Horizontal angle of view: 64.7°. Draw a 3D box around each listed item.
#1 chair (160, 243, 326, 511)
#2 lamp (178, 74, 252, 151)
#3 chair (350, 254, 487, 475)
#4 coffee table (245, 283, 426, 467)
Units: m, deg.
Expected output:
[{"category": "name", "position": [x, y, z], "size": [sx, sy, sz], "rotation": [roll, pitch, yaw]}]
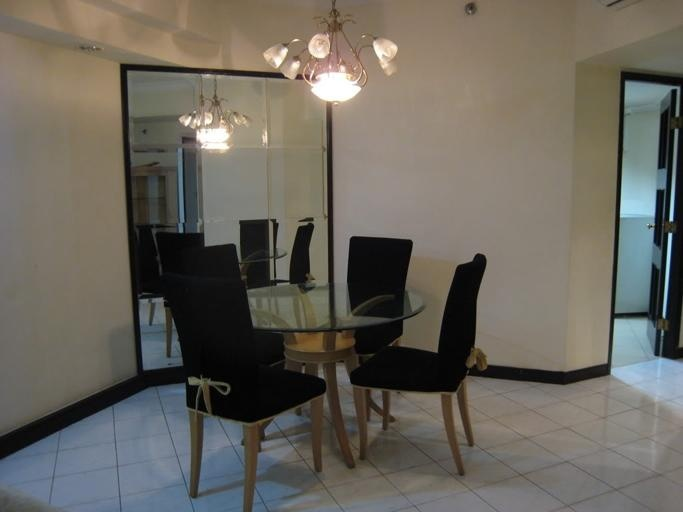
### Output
[{"category": "chair", "position": [-0.517, 0.733, 3.050], "size": [0.801, 1.330, 0.466], "rotation": [-6, 12, -19]}, {"category": "lamp", "position": [-1.051, -1.224, 4.496], "size": [0.398, 0.647, 0.424], "rotation": [4, -9, -39]}, {"category": "chair", "position": [0.523, 0.688, 3.513], "size": [0.809, 1.256, 0.629], "rotation": [1, 6, 23]}, {"category": "coffee table", "position": [-0.065, 0.601, 3.522], "size": [1.059, 0.744, 1.115], "rotation": [1, 11, 16]}]
